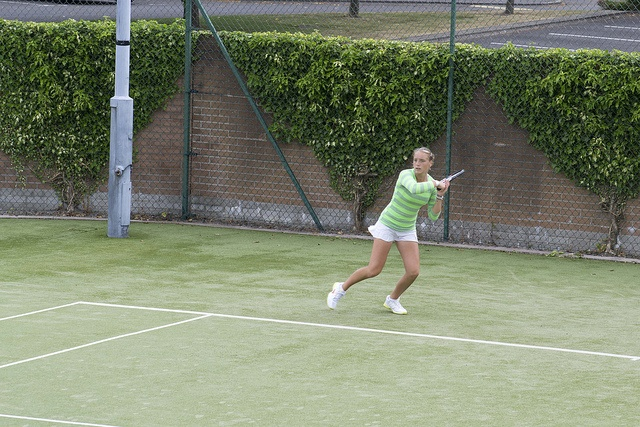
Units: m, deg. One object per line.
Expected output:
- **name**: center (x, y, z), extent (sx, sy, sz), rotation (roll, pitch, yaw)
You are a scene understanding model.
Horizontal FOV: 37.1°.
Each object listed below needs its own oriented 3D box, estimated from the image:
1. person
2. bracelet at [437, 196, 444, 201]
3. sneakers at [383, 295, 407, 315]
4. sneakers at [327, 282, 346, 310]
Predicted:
- **person**: center (0.930, 0.222, 12.321), extent (1.342, 2.129, 0.560), rotation (0, 15, -6)
- **bracelet**: center (1.539, -0.207, 12.317), extent (0.092, 0.112, 0.045), rotation (0, 53, -1)
- **sneakers**: center (0.964, 1.204, 12.415), extent (0.372, 0.164, 0.149), rotation (22, 20, 36)
- **sneakers**: center (0.213, 1.021, 12.466), extent (0.191, 0.430, 0.145), rotation (2, -30, 14)
